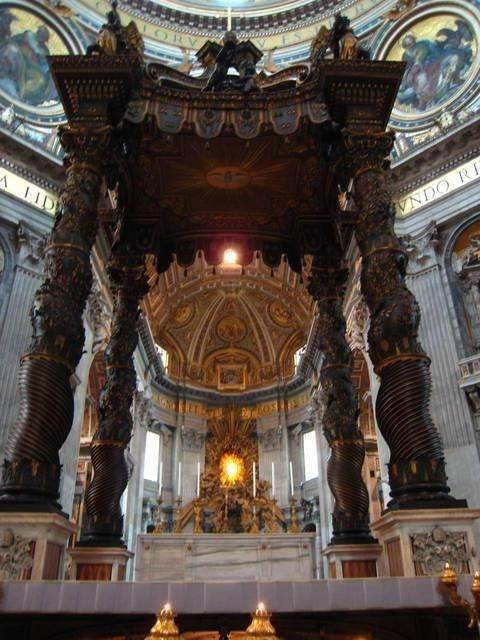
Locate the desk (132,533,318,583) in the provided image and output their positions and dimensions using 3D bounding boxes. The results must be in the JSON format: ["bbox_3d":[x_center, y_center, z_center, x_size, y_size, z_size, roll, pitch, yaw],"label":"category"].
[{"bbox_3d":[-0.349,6.723,12.717,4.850,1.252,0.924,2,-21,-4],"label":"desk"}]

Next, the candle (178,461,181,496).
[{"bbox_3d":[-3.174,8.165,23.076,0.220,1.563,0.383,2,-23,-8],"label":"candle"}]
